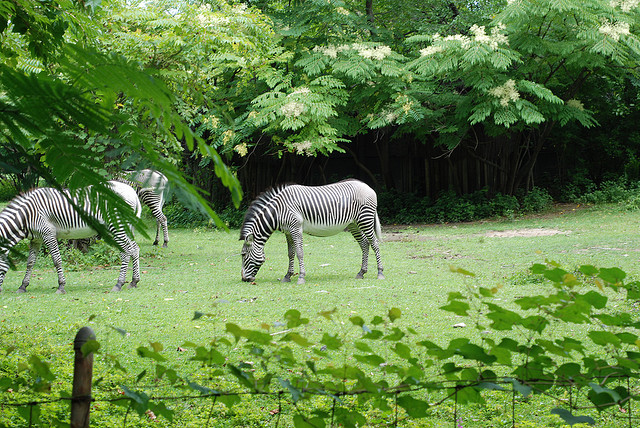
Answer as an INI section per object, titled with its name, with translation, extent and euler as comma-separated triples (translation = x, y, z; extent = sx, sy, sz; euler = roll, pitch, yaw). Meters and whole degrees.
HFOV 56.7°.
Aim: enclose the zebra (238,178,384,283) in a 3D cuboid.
[zebra]
translation = -0.111, 0.244, 8.477
extent = 2.266, 1.367, 0.645
euler = -4, 1, -23
